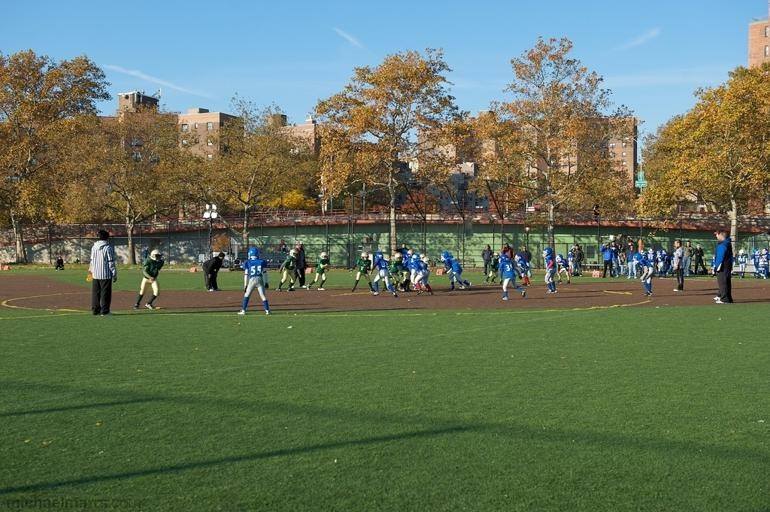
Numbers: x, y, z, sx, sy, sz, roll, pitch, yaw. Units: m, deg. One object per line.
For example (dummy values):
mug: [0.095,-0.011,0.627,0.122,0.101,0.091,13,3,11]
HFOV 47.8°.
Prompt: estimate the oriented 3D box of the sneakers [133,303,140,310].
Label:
sneakers: [-8.175,1.662,28.523,0.170,0.205,0.471,0,-2,-12]

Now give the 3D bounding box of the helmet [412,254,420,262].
helmet: [1.259,0.068,34.607,0.248,0.372,0.415,-5,-6,-2]

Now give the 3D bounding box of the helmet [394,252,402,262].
helmet: [0.520,0.041,35.550,0.359,0.237,0.254,-9,4,13]

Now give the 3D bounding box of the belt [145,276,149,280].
belt: [-7.739,0.715,28.157,0.125,0.079,0.115,1,-4,-17]

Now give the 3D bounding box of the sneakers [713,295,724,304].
sneakers: [11.612,1.533,30.136,0.188,0.205,0.515,6,14,4]

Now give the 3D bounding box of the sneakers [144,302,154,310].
sneakers: [-7.857,1.667,28.844,0.553,0.217,0.205,8,-3,43]

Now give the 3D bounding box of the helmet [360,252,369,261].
helmet: [-0.841,-0.011,37.001,0.296,0.348,0.575,-2,14,-4]

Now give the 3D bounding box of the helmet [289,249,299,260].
helmet: [-3.882,-0.107,37.183,0.352,0.311,0.407,1,-2,-9]

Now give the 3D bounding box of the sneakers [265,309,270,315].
sneakers: [-3.644,1.731,26.870,0.235,0.207,0.126,4,3,38]

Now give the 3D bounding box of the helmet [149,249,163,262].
helmet: [-7.403,-0.009,28.442,0.412,0.439,0.496,-3,-4,-30]

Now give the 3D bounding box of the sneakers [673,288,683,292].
sneakers: [12.288,1.436,36.273,0.395,0.135,0.123,0,12,-4]

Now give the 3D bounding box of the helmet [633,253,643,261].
helmet: [10.508,0.042,35.908,0.328,0.327,0.397,-28,-3,0]
